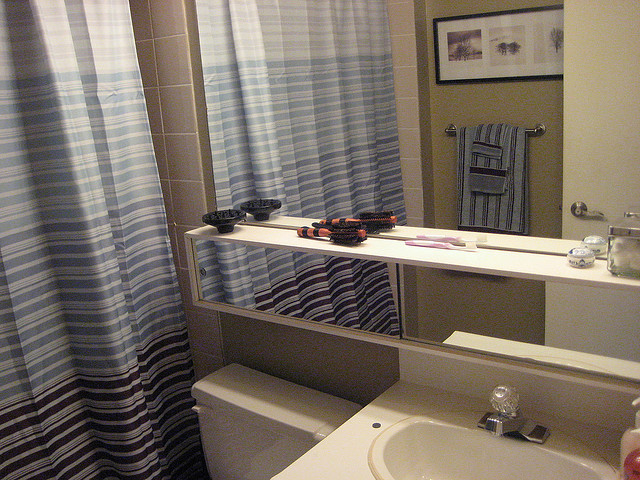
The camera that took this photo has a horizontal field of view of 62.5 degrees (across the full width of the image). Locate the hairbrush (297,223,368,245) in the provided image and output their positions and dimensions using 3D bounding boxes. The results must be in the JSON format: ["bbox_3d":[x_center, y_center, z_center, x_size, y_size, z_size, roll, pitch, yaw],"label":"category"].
[{"bbox_3d":[0.049,-0.011,1.691,0.235,0.048,0.067,2,0,32],"label":"hairbrush"}]

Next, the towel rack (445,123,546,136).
[{"bbox_3d":[0.477,-0.294,1.403,0.252,0.024,0.047,5,14,37],"label":"towel rack"}]

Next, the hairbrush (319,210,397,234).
[{"bbox_3d":[0.105,-0.060,1.683,0.289,0.052,0.057,0,8,22],"label":"hairbrush"}]

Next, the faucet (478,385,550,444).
[{"bbox_3d":[0.527,0.457,1.428,0.181,0.147,0.101,4,21,22],"label":"faucet"}]
